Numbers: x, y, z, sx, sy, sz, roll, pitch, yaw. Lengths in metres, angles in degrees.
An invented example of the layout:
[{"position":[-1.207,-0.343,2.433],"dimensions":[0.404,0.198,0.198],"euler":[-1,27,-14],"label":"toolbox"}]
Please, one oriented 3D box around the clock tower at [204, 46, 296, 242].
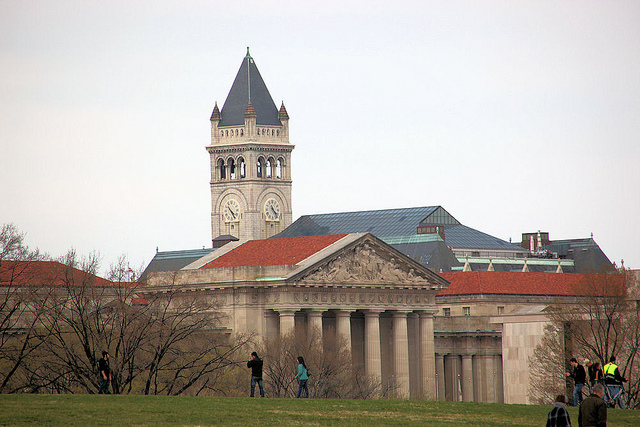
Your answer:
[{"position":[-14.995,-12.961,315.877],"dimensions":[24.628,42.346,29.026],"euler":[-4,-14,18],"label":"clock tower"}]
